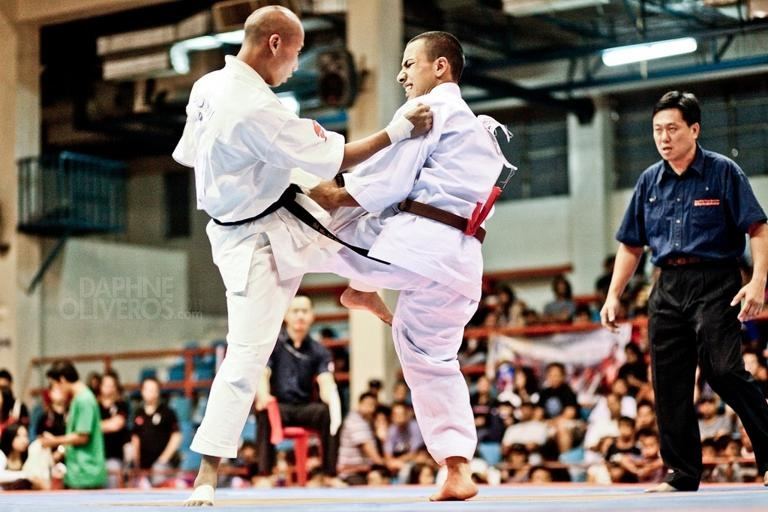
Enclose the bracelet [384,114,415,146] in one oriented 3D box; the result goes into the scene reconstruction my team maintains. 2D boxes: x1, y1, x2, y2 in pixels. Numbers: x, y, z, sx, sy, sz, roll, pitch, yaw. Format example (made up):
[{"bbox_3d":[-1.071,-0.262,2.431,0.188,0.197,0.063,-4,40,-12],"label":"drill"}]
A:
[{"bbox_3d":[0.133,-1.114,13.510,0.239,0.248,0.213,-31,14,1],"label":"bracelet"}]
